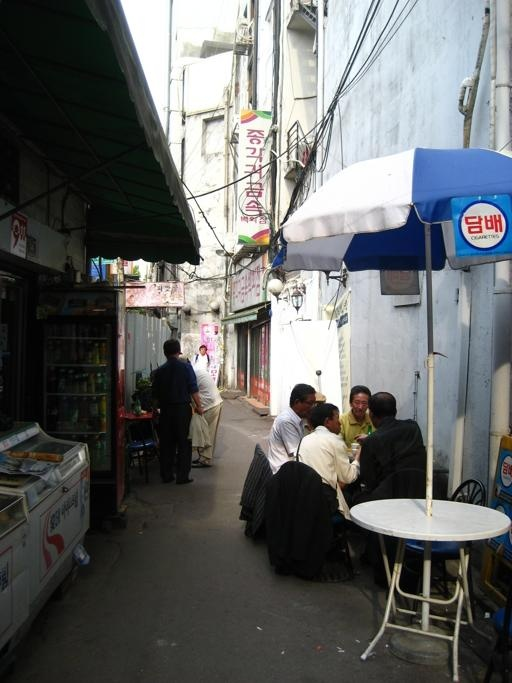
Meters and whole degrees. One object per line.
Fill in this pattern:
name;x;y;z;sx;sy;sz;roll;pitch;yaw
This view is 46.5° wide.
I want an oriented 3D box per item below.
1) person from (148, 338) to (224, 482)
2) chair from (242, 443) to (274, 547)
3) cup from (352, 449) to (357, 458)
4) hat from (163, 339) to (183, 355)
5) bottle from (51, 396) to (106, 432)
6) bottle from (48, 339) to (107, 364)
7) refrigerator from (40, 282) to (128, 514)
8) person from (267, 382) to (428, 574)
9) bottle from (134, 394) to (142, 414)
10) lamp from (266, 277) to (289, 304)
person;-1.044;0.902;7.777;0.624;1.842;0.768;0;0;0
chair;0.019;1.428;5.380;0.253;0.999;0.369;11;-24;-9
cup;0.921;1.064;5.584;0.047;0.063;0.055;2;-6;5
hat;-1.124;0.093;7.843;0.150;0.250;0.217;0;-12;-5
bottle;-1.808;0.737;6.016;0.498;0.362;0.363;0;0;-8
bottle;-1.789;0.107;5.934;0.419;0.294;0.231;-2;4;-7
refrigerator;-1.693;0.554;5.761;0.794;2.226;0.762;0;0;-16
person;0.920;1.063;5.032;1.300;1.803;0.954;-6;2;-19
bottle;-1.563;0.843;7.849;0.093;0.222;0.204;0;0;-15
lamp;0.457;-1.141;13.409;0.436;0.765;0.434;-19;19;-42
